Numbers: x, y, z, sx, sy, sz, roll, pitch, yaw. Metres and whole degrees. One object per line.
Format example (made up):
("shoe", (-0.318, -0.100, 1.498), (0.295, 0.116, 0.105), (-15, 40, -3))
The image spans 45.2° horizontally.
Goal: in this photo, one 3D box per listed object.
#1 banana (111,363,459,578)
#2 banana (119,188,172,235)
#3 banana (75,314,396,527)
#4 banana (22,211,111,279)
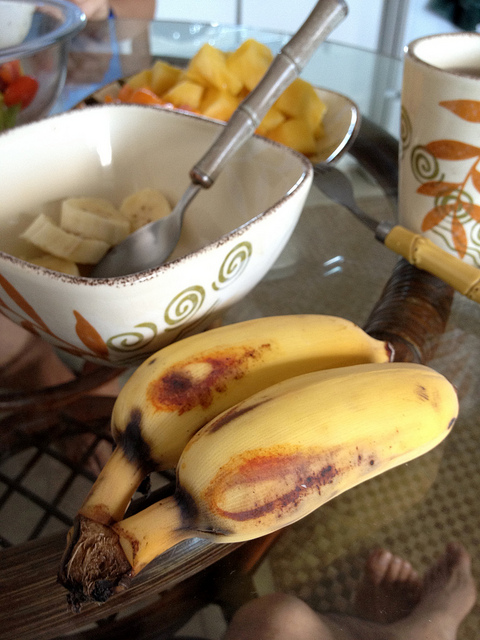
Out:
("banana", (0.027, 0.081, 0.310), (0.193, 0.096, 0.068), (-23, 48, -26))
("banana", (-0.085, -0.101, 0.516), (0.056, 0.039, 0.032), (13, 30, -3))
("banana", (-0.012, 0.037, 0.349), (0.236, 0.059, 0.082), (-28, 64, -30))
("banana", (-0.139, -0.060, 0.453), (0.043, 0.039, 0.057), (21, 45, 20))
